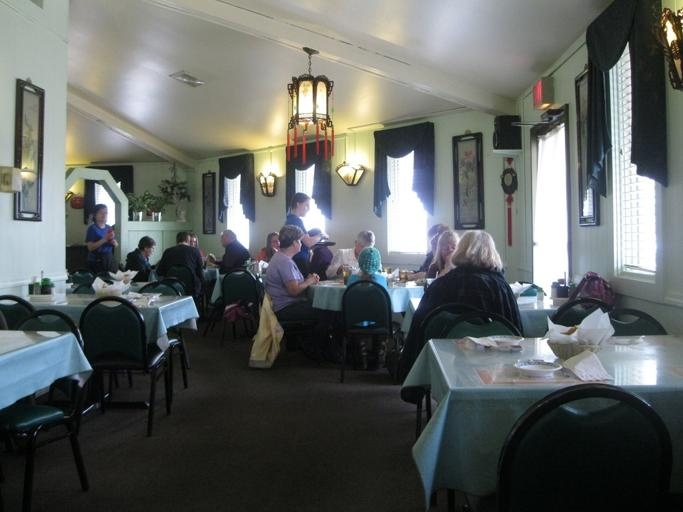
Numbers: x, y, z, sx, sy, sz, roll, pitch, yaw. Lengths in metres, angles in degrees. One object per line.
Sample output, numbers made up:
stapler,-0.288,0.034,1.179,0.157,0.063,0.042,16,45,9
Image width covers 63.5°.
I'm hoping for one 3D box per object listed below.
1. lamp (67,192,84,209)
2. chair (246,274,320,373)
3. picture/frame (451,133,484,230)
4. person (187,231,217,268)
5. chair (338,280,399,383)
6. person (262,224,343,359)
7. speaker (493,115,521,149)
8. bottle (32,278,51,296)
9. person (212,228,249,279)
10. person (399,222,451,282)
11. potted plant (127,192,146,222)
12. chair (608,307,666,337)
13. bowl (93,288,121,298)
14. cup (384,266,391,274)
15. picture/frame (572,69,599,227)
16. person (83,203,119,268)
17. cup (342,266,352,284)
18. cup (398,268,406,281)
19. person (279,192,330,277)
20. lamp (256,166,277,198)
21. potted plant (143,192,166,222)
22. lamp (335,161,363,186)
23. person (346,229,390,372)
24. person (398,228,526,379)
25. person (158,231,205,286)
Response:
lamp,-5.788,-1.191,11.982,0.346,0.365,0.307,-3,5,-20
chair,-0.665,0.639,5.636,0.672,1.069,0.735,0,-1,-21
picture/frame,1.650,-0.943,7.100,0.122,1.230,0.465,-4,6,-37
person,-2.282,-0.087,9.179,0.234,0.272,0.747,19,-17,-6
chair,0.260,0.638,5.013,0.523,0.884,0.653,0,5,2
person,-0.375,0.360,5.523,0.696,1.319,0.519,-3,7,-11
speaker,1.868,-1.363,6.156,0.299,0.408,0.347,1,5,18
bottle,-2.400,0.244,4.409,0.171,0.120,0.132,-2,5,-13
person,-1.600,0.076,7.911,0.474,0.870,0.432,2,9,-19
person,0.832,-0.026,5.959,0.741,0.527,0.653,-9,-22,11
potted plant,-3.927,-0.902,10.624,0.333,0.458,0.743,-3,6,-21
chair,1.750,0.391,3.242,0.167,0.243,0.168,-2,-3,6
bowl,-1.792,0.283,4.238,0.138,0.049,0.129,1,-1,0
cup,0.515,0.163,5.957,0.056,0.061,0.081,14,3,-13
picture/frame,2.039,-0.880,4.548,0.186,1.287,0.605,1,5,21
person,-3.108,-0.223,7.133,0.356,0.873,0.809,-3,5,-25
cup,0.058,0.189,5.667,0.127,0.219,0.121,-1,-3,0
cup,0.620,0.197,5.605,0.080,0.101,0.084,0,-4,0
person,-0.402,0.053,6.569,0.448,1.603,0.463,-2,12,1
lamp,-1.305,-1.308,9.879,0.391,0.527,0.407,1,-2,-36
potted plant,-3.735,-0.980,11.088,0.377,0.549,1.140,-2,6,-17
lamp,0.137,-1.245,8.497,0.192,0.379,0.503,-5,7,-43
person,0.239,0.485,5.205,0.350,1.261,0.363,11,17,22
person,0.789,0.154,3.641,0.960,1.209,0.822,2,5,10
person,-2.105,0.155,7.279,0.592,0.885,0.450,1,-6,-17
